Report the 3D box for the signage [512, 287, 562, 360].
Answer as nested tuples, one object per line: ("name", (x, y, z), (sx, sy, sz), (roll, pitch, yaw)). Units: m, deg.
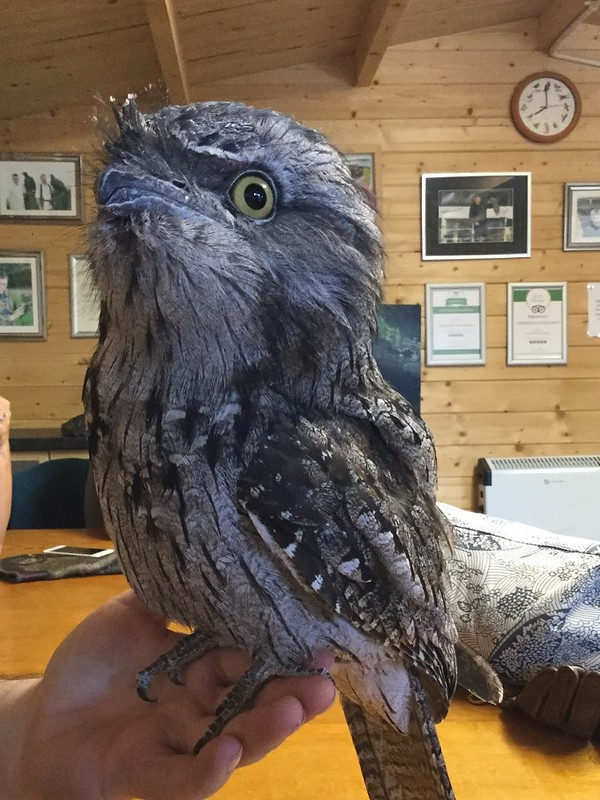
("signage", (1.139, -0.370, 4.071), (0.309, 0.396, 0.047), (0, 4, -13))
